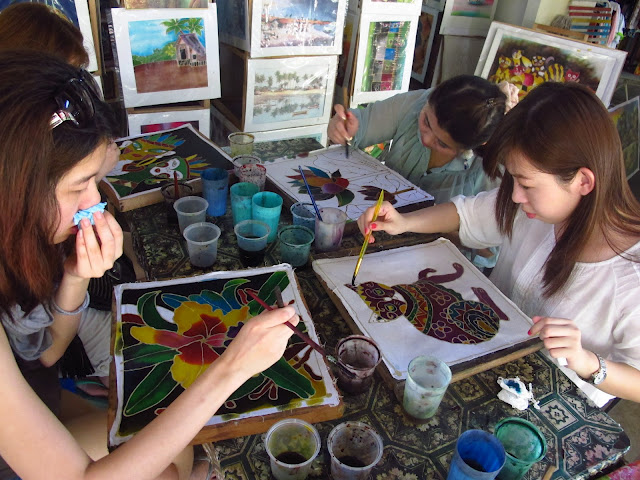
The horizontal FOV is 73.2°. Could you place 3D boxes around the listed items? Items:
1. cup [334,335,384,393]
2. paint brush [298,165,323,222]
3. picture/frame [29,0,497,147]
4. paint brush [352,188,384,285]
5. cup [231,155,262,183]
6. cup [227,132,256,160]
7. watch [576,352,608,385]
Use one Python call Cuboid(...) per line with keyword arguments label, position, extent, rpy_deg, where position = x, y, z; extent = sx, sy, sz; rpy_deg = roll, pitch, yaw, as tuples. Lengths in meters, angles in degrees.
Cuboid(label="cup", position=(0.102, 0.355, 1.270), extent=(0.147, 0.152, 0.149), rpy_deg=(0, 48, 0))
Cuboid(label="paint brush", position=(-0.052, -0.223, 1.800), extent=(0.049, 0.021, 0.472), rpy_deg=(-4, 42, -13))
Cuboid(label="picture/frame", position=(-0.362, -0.997, 2.589), extent=(1.435, 0.305, 1.251), rpy_deg=(-23, 60, -25))
Cuboid(label="paint brush", position=(0.181, 0.001, 1.646), extent=(0.048, 0.035, 0.417), rpy_deg=(3, 60, 45))
Cuboid(label="cup", position=(-0.319, -0.291, 1.872), extent=(0.126, 0.111, 0.150), rpy_deg=(-6, 48, -9))
Cuboid(label="cup", position=(-0.375, -0.441, 2.066), extent=(0.160, 0.115, 0.153), rpy_deg=(2, 39, -2))
Cuboid(label="watch", position=(0.821, 0.386, 1.315), extent=(0.058, 0.089, 0.084), rpy_deg=(3, 20, -25))
